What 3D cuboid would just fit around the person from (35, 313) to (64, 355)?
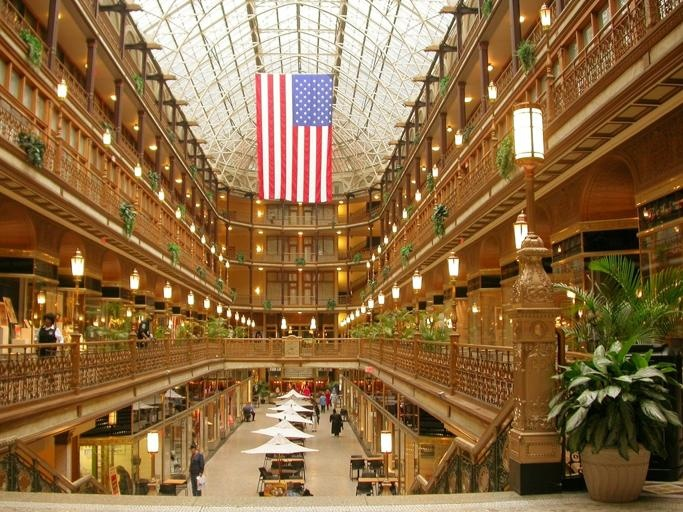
[{"bbox_3d":[-6.756,1.833,12.763,0.469,0.883,2.570,-6,4,-28],"label":"person"}]
